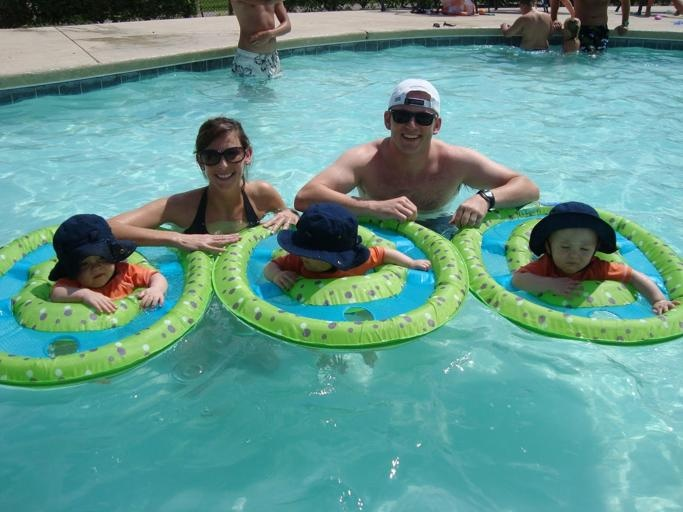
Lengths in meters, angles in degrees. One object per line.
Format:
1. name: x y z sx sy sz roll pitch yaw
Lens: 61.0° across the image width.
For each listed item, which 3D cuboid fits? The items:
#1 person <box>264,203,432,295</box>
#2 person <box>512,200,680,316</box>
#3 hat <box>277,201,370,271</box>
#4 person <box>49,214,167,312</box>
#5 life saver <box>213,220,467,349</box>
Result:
1. person: -0.067 -0.062 4.490 1.324 0.539 0.698 -1 37 -4
2. person: 1.770 -0.079 4.369 0.858 0.462 1.083 -12 28 -12
3. hat: -0.153 -0.126 4.204 0.628 0.456 0.420 3 30 13
4. person: -1.691 0.051 4.121 0.968 0.409 0.691 19 29 27
5. life saver: 0.029 0.190 4.341 1.884 0.398 1.342 -8 25 -12
